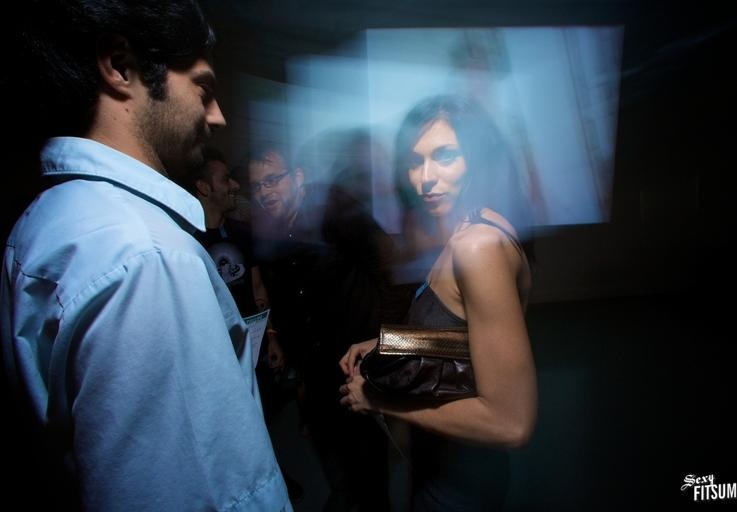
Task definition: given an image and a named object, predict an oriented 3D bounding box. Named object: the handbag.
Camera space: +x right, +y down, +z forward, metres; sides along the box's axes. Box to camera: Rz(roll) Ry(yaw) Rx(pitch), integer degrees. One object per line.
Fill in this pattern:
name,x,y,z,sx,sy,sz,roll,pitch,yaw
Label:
handbag,0.154,0.334,1.689,0.297,0.230,0.123,-5,35,-1
